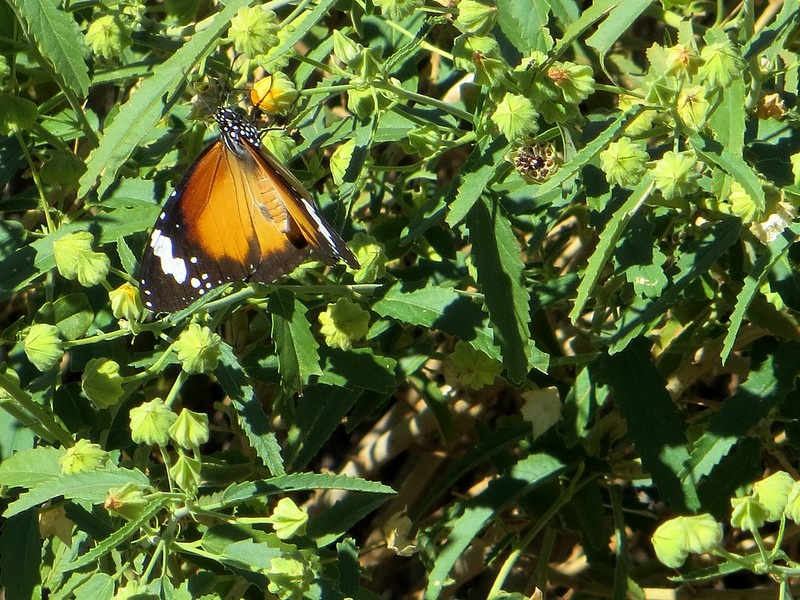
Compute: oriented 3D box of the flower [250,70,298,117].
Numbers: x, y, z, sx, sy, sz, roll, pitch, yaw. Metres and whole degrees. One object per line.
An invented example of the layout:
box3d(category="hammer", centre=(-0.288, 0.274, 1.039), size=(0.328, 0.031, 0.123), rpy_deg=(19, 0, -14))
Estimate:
box3d(category="flower", centre=(-0.194, -0.349, 1.537), size=(0.055, 0.076, 0.087), rpy_deg=(13, 24, 18))
